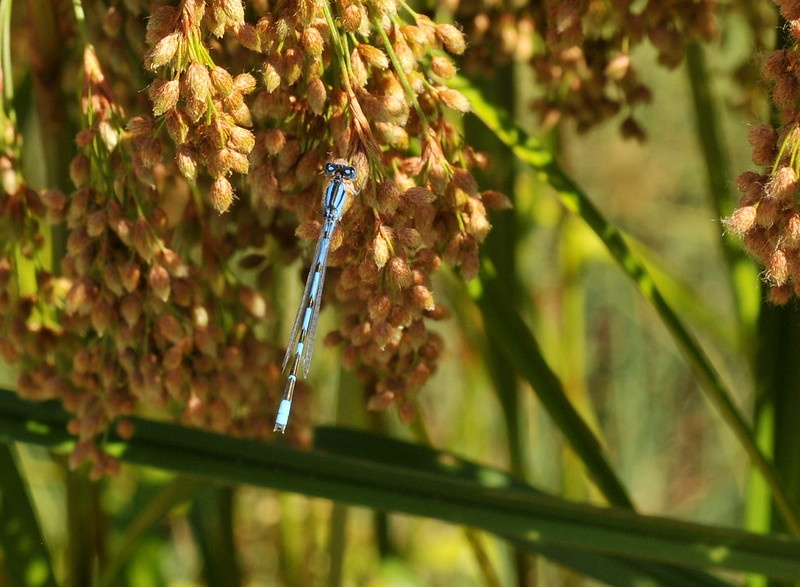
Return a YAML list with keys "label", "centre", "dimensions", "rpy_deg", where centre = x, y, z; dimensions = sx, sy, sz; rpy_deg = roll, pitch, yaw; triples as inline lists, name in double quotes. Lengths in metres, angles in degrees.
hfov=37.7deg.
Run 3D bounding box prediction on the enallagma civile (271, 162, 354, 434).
- label: "enallagma civile"
  centre: [-0.130, 0.005, 1.734]
  dimensions: [0.047, 0.408, 0.060]
  rpy_deg: [9, 1, 2]
